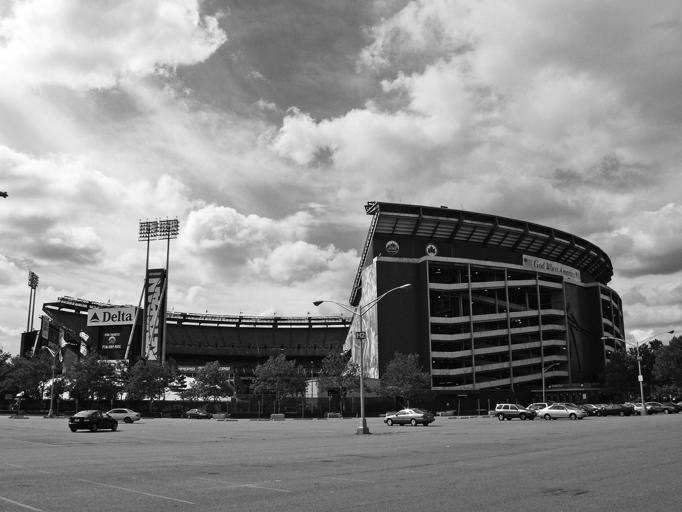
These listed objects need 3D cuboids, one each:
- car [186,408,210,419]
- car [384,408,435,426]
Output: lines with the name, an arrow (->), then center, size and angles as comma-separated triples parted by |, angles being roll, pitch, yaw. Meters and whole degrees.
car -> -17.562, 19.341, 78.694 | 2.999, 1.003, 1.398 | -10, -17, 32
car -> 5.935, 13.942, 55.436 | 3.612, 1.340, 1.744 | -5, -15, 29
